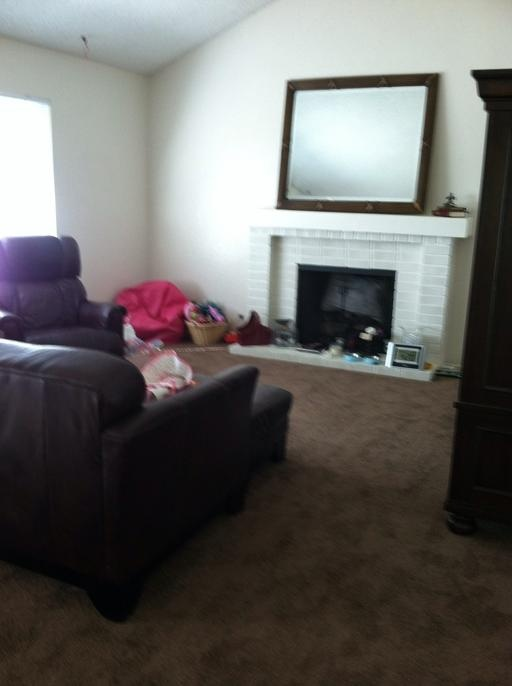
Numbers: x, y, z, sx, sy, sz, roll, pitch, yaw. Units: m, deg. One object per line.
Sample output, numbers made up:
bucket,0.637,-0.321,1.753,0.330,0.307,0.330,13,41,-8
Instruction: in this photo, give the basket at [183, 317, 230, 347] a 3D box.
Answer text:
basket,-0.411,-0.088,4.578,0.249,0.138,0.255,9,12,38

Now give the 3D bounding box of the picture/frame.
picture/frame,0.804,-1.504,4.018,1.180,0.991,0.092,6,9,21
